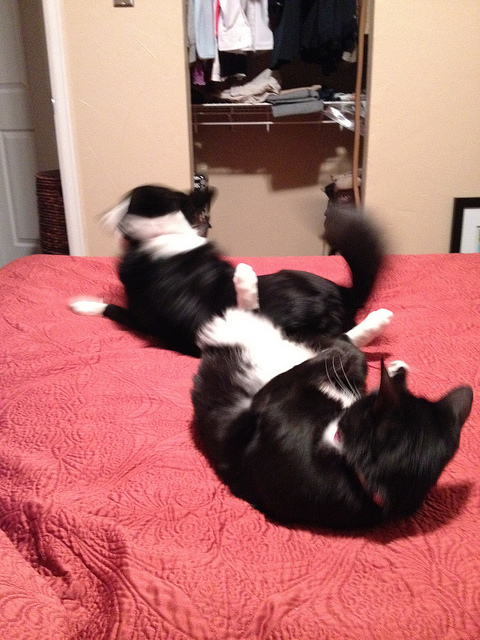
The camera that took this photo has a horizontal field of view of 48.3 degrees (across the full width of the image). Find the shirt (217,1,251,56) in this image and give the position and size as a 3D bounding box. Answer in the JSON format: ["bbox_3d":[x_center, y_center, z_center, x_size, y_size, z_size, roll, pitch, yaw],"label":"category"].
[{"bbox_3d":[-0.030,-1.438,2.619,0.161,0.217,0.039,-2,23,-8],"label":"shirt"}]

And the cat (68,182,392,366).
[{"bbox_3d":[-0.028,-0.095,1.076,0.631,0.304,0.206,14,2,7],"label":"cat"}]

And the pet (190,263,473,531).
[{"bbox_3d":[0.078,0.079,0.646,0.239,0.152,0.297,-3,24,-24],"label":"pet"}]

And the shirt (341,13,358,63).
[{"bbox_3d":[0.556,-1.415,2.682,0.071,0.210,0.140,4,23,8],"label":"shirt"}]

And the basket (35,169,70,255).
[{"bbox_3d":[-1.031,-0.563,2.931,0.130,0.440,0.191,-8,24,-19],"label":"basket"}]
